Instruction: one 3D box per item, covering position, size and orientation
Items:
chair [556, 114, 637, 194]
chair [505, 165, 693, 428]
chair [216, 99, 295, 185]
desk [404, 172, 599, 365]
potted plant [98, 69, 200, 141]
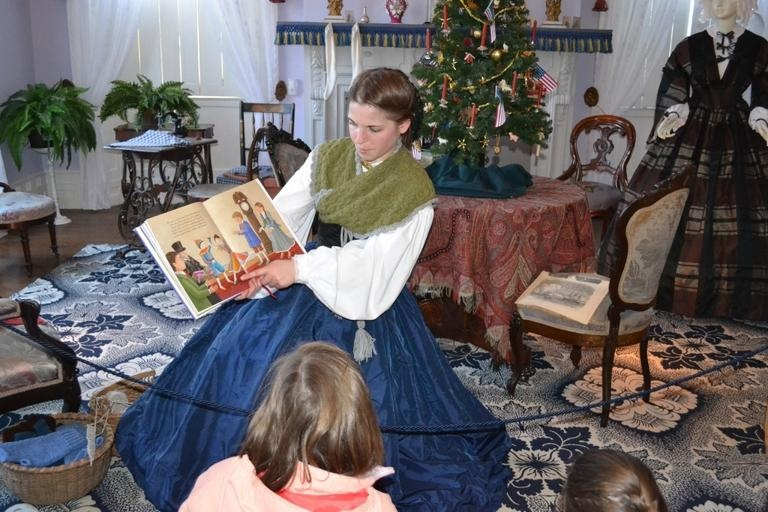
[{"bbox_3d":[1.853,-0.733,4.714,0.636,0.930,0.714,2,32,13],"label":"chair"},{"bbox_3d":[1.286,0.191,3.146,0.837,1.402,0.811,-9,16,-31],"label":"chair"},{"bbox_3d":[-1.362,-1.030,5.837,0.799,1.295,0.838,-4,19,-17],"label":"chair"},{"bbox_3d":[0.829,0.033,3.567,1.056,0.812,1.084,4,15,11],"label":"desk"},{"bbox_3d":[-2.502,-1.655,5.704,0.803,0.485,0.820,2,16,2],"label":"potted plant"}]
